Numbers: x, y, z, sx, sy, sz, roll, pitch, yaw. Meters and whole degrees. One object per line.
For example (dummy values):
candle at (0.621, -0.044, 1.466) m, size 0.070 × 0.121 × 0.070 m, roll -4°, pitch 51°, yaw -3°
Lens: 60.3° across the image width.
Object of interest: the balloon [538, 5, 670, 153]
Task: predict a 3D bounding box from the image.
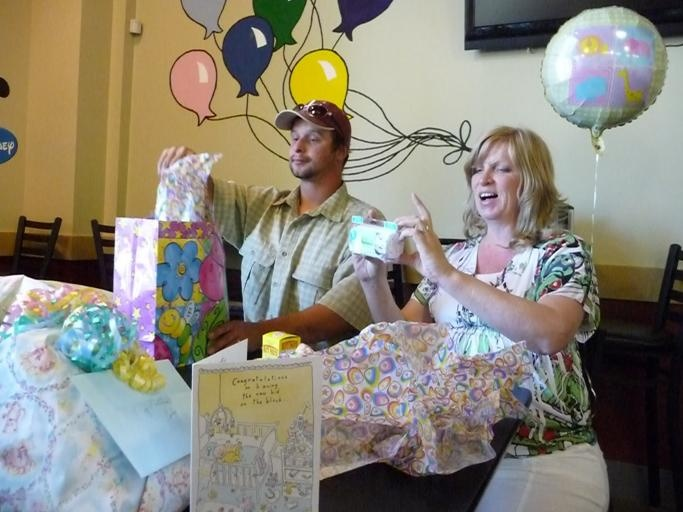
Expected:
balloon at (0.779, -0.527, 1.953) m, size 0.372 × 0.623 × 0.352 m, roll -1°, pitch 1°, yaw 10°

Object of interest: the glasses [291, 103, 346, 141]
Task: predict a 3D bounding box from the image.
glasses at (-0.083, -0.472, 2.103) m, size 0.095 × 0.083 × 0.167 m, roll 24°, pitch 3°, yaw 9°

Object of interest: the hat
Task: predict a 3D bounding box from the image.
hat at (-0.093, -0.474, 2.130) m, size 0.162 × 0.126 × 0.224 m, roll 23°, pitch -6°, yaw 43°
